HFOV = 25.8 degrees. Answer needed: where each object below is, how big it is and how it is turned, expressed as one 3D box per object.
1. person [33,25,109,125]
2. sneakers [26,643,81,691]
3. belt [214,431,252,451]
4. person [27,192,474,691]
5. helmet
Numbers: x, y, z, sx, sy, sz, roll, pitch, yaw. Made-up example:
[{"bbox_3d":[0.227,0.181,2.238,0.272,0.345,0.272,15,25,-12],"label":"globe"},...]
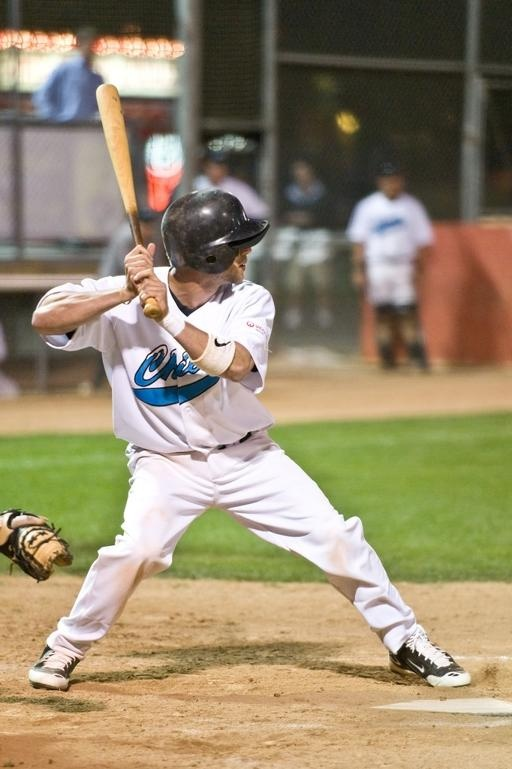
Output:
[{"bbox_3d":[-1.427,-2.350,8.413,0.515,0.694,0.207,-3,14,-10],"label":"person"},{"bbox_3d":[-0.546,0.755,2.944,0.067,0.065,0.175,31,-8,-2],"label":"sneakers"},{"bbox_3d":[-0.056,0.157,3.000,0.071,0.024,0.051,-22,11,41],"label":"belt"},{"bbox_3d":[-0.082,0.146,2.977,1.047,1.299,0.407,-2,14,-6],"label":"person"},{"bbox_3d":[-0.110,-0.407,2.963,0.281,0.217,0.198,-1,13,-1],"label":"helmet"}]
